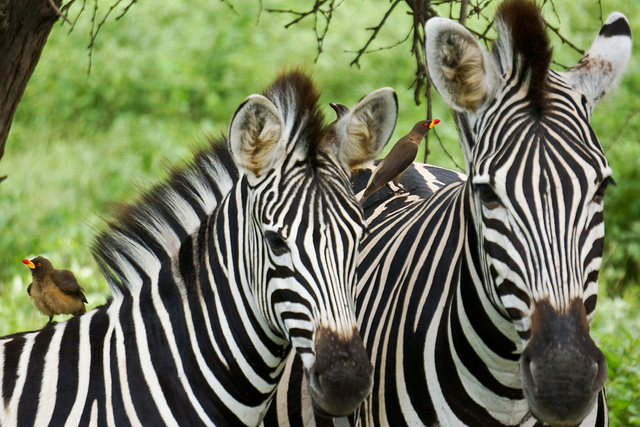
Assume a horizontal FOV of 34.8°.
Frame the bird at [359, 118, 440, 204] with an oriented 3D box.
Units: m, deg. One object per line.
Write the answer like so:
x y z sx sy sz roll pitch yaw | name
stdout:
0.730 -0.518 9.797 0.820 0.666 0.309 -13 22 -7 | bird

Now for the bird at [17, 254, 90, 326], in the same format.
-2.486 0.716 9.865 0.456 0.731 0.950 -6 -1 22 | bird

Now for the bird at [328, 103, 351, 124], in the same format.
0.176 -0.888 8.749 0.160 0.182 0.169 -5 25 -37 | bird
